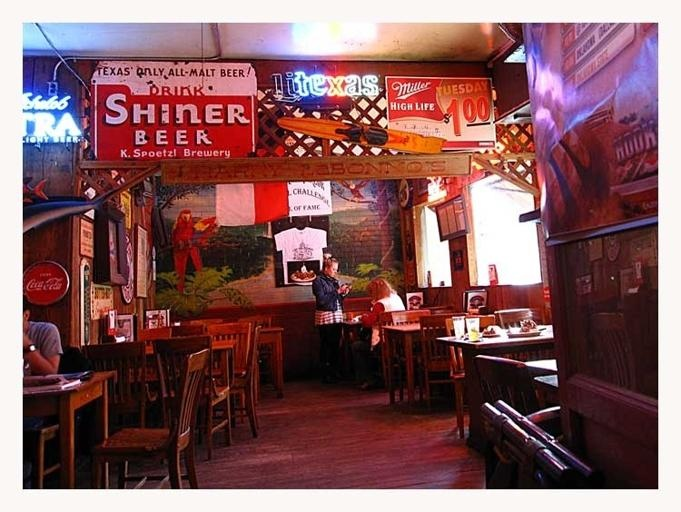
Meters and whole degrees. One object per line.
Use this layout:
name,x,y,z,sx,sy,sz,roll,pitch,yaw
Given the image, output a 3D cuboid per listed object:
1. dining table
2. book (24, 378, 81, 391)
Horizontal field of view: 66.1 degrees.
dining table,1.320,1.072,4.295,0.700,0.579,0.659,-3,-3,-12
book,-1.602,0.714,2.912,0.269,0.045,0.242,-2,-4,-31
